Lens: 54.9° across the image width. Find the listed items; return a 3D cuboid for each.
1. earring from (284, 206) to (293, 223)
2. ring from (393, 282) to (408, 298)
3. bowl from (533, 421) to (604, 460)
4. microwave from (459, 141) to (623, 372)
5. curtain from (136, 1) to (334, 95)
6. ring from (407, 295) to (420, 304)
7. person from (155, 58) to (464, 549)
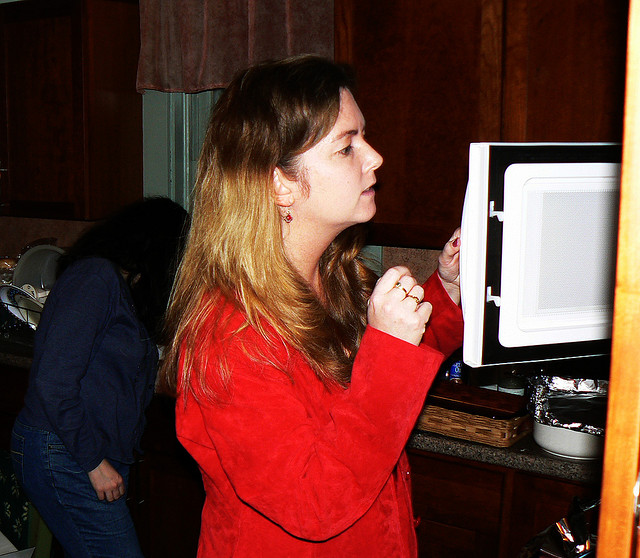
[{"bbox_3d":[-0.055,-0.114,1.093,0.012,0.026,0.011,-3,10,-45],"label":"earring"},{"bbox_3d":[0.125,0.015,0.939,0.016,0.018,0.004,22,-17,3],"label":"ring"},{"bbox_3d":[0.691,0.440,1.671,0.163,0.065,0.166,8,-6,1],"label":"bowl"},{"bbox_3d":[0.326,-0.041,0.906,0.308,0.281,0.170,-1,8,-30],"label":"microwave"},{"bbox_3d":[-0.321,-0.825,2.153,0.862,0.333,0.065,9,8,28],"label":"curtain"},{"bbox_3d":[0.145,0.029,0.939,0.011,0.006,0.015,12,37,-51],"label":"ring"},{"bbox_3d":[-0.031,0.057,1.101,0.469,0.882,0.543,2,7,-16],"label":"person"}]
